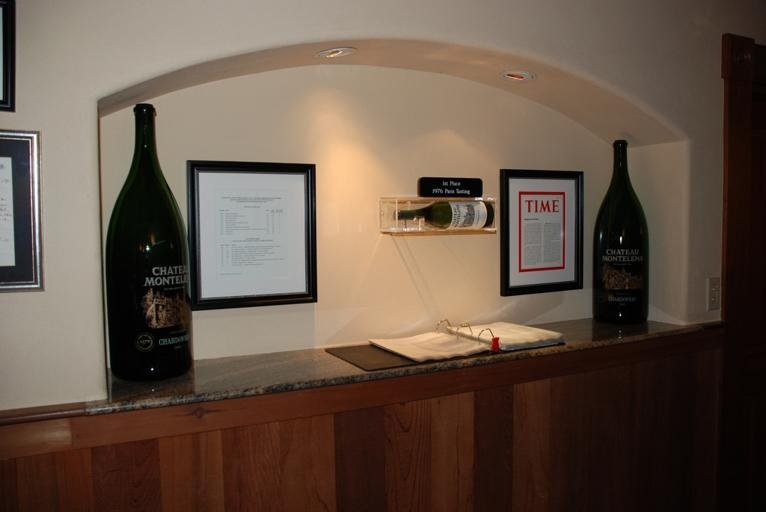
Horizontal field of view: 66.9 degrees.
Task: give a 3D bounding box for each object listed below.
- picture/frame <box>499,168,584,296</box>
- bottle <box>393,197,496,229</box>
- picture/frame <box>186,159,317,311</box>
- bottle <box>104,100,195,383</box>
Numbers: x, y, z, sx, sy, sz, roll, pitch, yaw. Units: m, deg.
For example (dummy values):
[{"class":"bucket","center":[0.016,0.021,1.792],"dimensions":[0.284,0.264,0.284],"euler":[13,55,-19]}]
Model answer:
[{"class":"picture/frame","center":[0.695,-0.122,2.610],"dimensions":[0.510,0.679,0.044],"euler":[-3,6,-25]},{"class":"bottle","center":[0.243,-0.160,2.286],"dimensions":[0.382,0.102,0.109],"euler":[-2,1,5]},{"class":"picture/frame","center":[-0.512,-0.089,2.166],"dimensions":[0.516,0.636,0.042],"euler":[-2,2,-23]},{"class":"bottle","center":[-0.801,-0.043,1.979],"dimensions":[0.265,0.972,0.163],"euler":[-2,1,-27]}]
